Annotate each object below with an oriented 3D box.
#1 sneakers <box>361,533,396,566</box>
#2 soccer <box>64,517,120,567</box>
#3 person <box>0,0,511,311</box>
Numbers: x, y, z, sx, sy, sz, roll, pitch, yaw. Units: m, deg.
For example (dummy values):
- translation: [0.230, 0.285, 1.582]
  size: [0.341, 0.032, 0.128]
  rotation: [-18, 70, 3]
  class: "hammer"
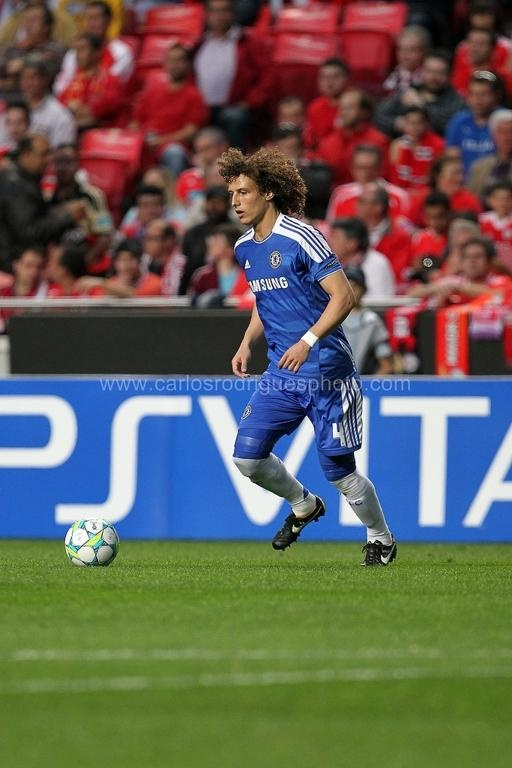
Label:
- translation: [0.520, 0.708, 5.125]
  size: [0.074, 0.183, 0.085]
  rotation: [-9, 89, 24]
  class: "sneakers"
- translation: [-0.746, 0.647, 5.117]
  size: [0.224, 0.208, 0.201]
  rotation: [6, 79, 8]
  class: "soccer"
- translation: [0.058, -1.452, 8.027]
  size: [3.042, 0.871, 1.468]
  rotation: [1, 92, 7]
  class: "person"
